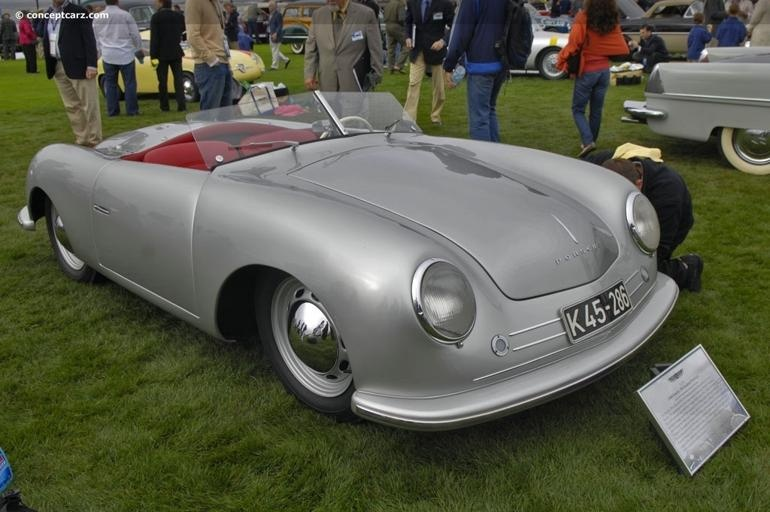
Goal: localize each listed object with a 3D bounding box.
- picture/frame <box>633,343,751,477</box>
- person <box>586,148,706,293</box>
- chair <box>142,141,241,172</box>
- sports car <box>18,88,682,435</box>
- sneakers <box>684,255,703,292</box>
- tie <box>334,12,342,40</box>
[{"bbox_3d":[1.575,0.754,2.513,0.648,0.417,0.297,-16,27,-29],"label":"picture/frame"},{"bbox_3d":[1.714,-0.212,3.262,0.511,0.965,0.723,-34,40,10],"label":"person"},{"bbox_3d":[-1.231,-0.644,3.164,0.407,0.181,0.341,16,24,37],"label":"chair"},{"bbox_3d":[-0.540,-0.176,3.018,3.361,1.208,2.011,21,33,38],"label":"sports car"},{"bbox_3d":[2.288,0.128,3.708,0.138,0.284,0.114,11,0,29],"label":"sneakers"},{"bbox_3d":[-0.572,-2.756,5.872,0.093,0.260,0.060,-9,23,-19],"label":"tie"}]
